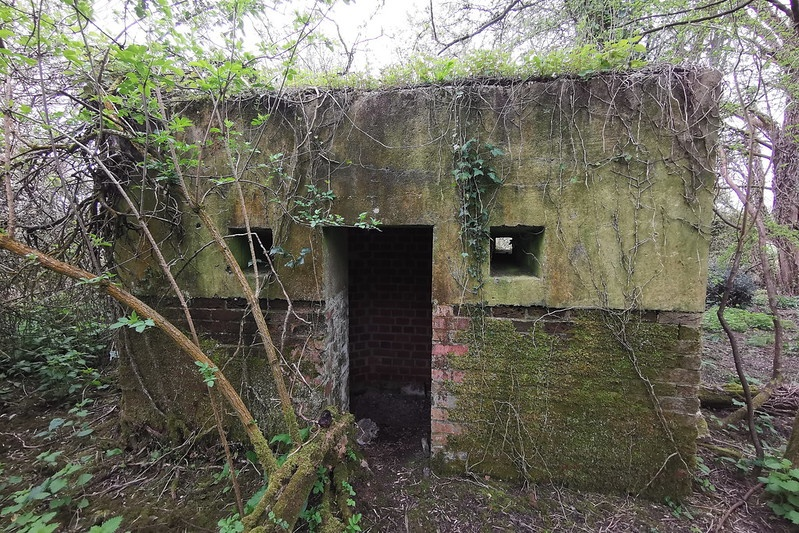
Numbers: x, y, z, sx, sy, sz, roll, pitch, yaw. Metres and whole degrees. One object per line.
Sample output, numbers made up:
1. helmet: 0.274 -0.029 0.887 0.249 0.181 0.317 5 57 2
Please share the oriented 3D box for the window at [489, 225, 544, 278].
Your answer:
1. window: 1.305 -0.166 6.028 0.446 0.541 0.830 1 3 6
